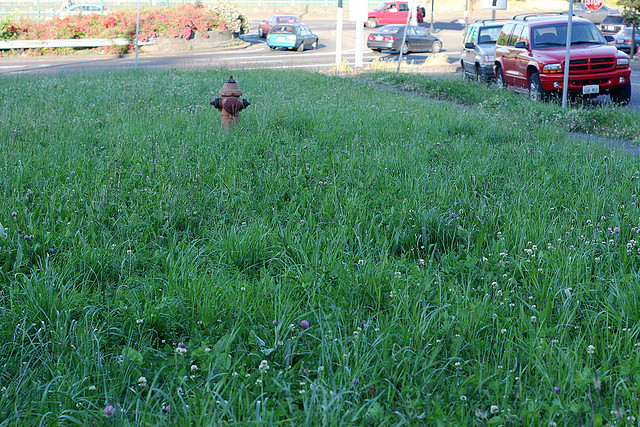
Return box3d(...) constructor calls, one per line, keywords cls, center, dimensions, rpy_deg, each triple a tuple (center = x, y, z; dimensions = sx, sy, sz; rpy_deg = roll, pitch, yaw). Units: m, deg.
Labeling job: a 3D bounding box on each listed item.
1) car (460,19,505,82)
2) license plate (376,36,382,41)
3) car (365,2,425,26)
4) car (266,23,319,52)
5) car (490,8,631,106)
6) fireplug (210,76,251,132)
box3d(cls="car", center=(5.823, -5.745, 18.503), dimensions=(1.364, 1.615, 2.698), rpy_deg=(-2, 19, -4))
box3d(cls="license plate", center=(3.643, -10.729, 32.147), dimensions=(0.431, 0.257, 0.054), rpy_deg=(13, 20, 37))
box3d(cls="car", center=(6.238, -16.882, 44.206), dimensions=(4.785, 2.497, 3.353), rpy_deg=(4, 29, 4))
box3d(cls="car", center=(-1.558, -11.254, 33.450), dimensions=(1.555, 1.277, 3.218), rpy_deg=(8, 35, 11))
box3d(cls="car", center=(6.155, -4.098, 14.419), dimensions=(2.043, 2.239, 4.307), rpy_deg=(-4, 19, -9))
box3d(cls="fireplug", center=(-1.453, -1.750, 8.476), dimensions=(0.589, 0.928, 0.426), rpy_deg=(-2, 19, -19))
